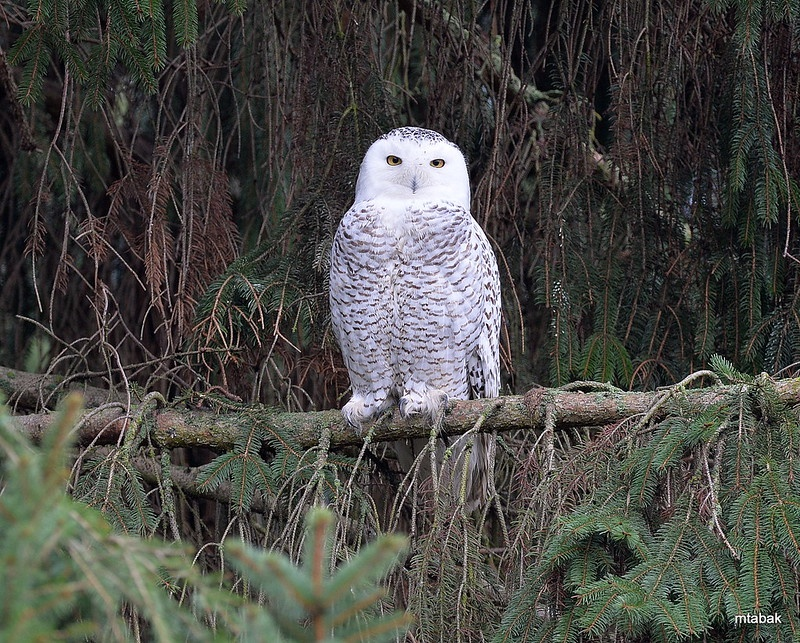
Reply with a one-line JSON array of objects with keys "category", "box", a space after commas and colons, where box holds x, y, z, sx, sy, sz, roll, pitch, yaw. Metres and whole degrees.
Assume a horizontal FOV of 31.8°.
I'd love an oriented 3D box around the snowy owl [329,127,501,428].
[{"category": "snowy owl", "box": [0.104, -0.059, 6.316, 0.620, 1.422, 1.230, 2, -36, 4]}]
